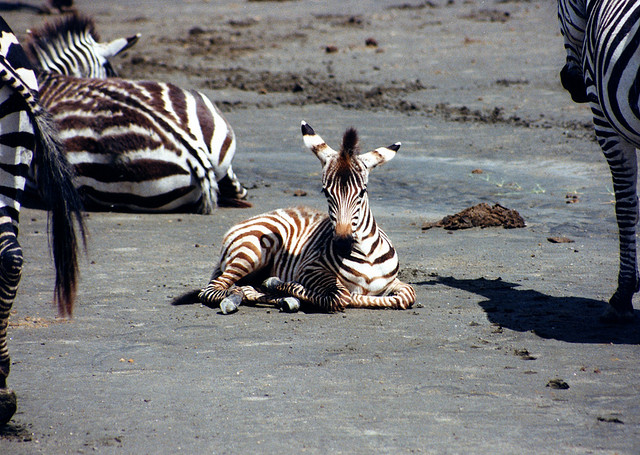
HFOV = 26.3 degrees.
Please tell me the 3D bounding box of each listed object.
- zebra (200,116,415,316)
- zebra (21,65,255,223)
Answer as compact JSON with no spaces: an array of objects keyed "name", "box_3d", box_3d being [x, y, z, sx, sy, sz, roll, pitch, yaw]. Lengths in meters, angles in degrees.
[{"name":"zebra","box_3d":[-0.118,-0.095,17.277,2.435,2.087,1.468,-1,31,-1]},{"name":"zebra","box_3d":[-1.781,-1.206,19.685,4.448,1.536,2.288,12,1,-12]}]
